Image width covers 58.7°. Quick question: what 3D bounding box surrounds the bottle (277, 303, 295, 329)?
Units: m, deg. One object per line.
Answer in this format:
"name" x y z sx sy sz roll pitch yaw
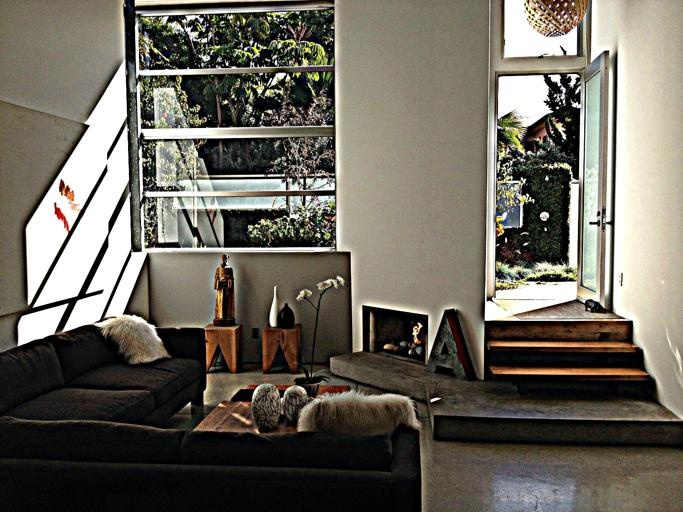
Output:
"bottle" -0.647 0.721 7.182 0.240 0.343 0.249 -1 -6 0

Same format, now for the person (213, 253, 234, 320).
"person" -1.427 0.403 7.333 0.256 0.841 0.201 -3 6 -12
